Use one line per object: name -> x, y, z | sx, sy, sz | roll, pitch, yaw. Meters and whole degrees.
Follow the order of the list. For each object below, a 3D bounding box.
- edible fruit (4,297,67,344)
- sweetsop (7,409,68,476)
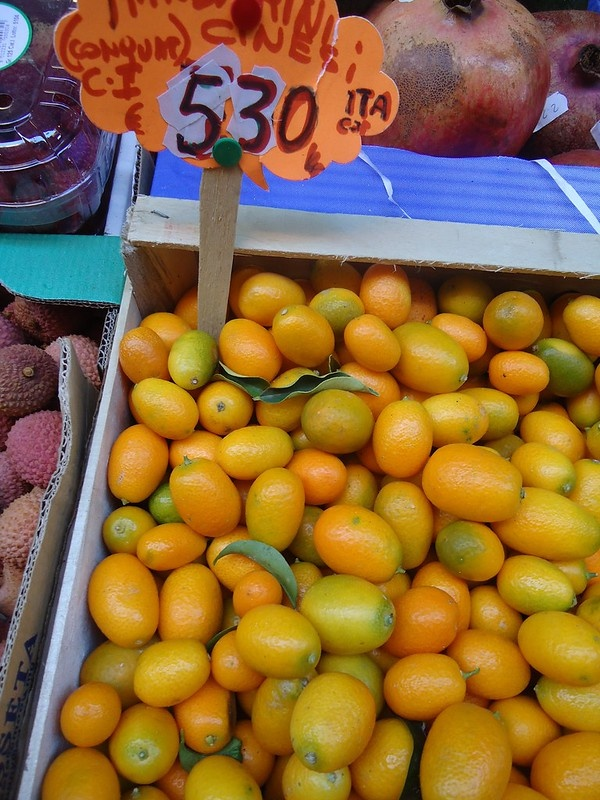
edible fruit -> -0.607, -0.183, 1.701 | 0.109, 0.133, 0.097 | -20, 83, 15
sweetsop -> -0.523, 0.093, 1.483 | 0.127, 0.122, 0.139 | 11, 16, 0
